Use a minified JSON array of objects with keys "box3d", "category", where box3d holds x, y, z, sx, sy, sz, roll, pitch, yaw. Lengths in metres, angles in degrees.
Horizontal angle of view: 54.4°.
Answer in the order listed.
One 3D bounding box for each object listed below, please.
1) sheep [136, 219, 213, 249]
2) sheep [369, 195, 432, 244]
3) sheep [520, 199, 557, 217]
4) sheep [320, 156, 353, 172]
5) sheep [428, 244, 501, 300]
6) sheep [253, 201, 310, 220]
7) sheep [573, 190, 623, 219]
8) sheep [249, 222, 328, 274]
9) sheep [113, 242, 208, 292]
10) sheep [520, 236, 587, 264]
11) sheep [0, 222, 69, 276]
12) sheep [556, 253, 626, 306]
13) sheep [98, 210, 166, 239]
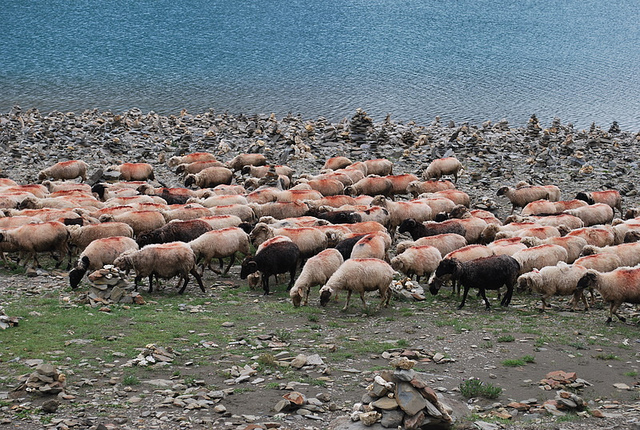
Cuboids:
[{"box3d":[-5.098,0.768,21.748,2.788,0.993,0.705,-9,28,-33],"category":"sheep"},{"box3d":[3.331,0.175,25.358,2.234,1.501,1.067,4,2,6],"category":"sheep"},{"box3d":[9.438,-0.329,26.855,1.724,0.638,0.877,3,2,-13],"category":"sheep"},{"box3d":[0.725,-2.839,33.659,2.057,0.535,0.836,-7,-33,1],"category":"sheep"},{"box3d":[4.758,1.729,20.514,3.877,1.480,1.096,-13,13,-40],"category":"sheep"},{"box3d":[-1.404,-0.285,25.339,2.715,0.601,0.953,2,-36,3],"category":"sheep"},{"box3d":[12.754,-0.366,28.527,3.536,1.241,0.887,-3,-3,-33],"category":"sheep"},{"box3d":[-1.205,1.048,21.133,3.091,1.152,1.043,7,-10,-37],"category":"sheep"},{"box3d":[-4.825,1.566,19.305,2.503,1.492,1.012,4,2,1],"category":"sheep"},{"box3d":[7.774,1.201,20.905,3.093,0.999,0.873,2,1,-22],"category":"sheep"},{"box3d":[-9.516,1.042,20.923,2.054,1.641,1.745,4,2,-17],"category":"sheep"},{"box3d":[8.391,1.788,19.245,3.048,1.009,0.708,-5,8,-29],"category":"sheep"},{"box3d":[-6.695,0.385,23.141,3.107,0.990,0.807,-2,12,14],"category":"sheep"}]
